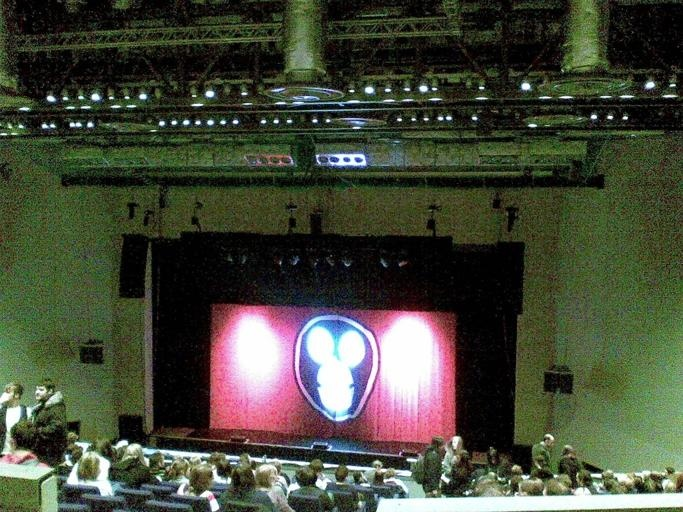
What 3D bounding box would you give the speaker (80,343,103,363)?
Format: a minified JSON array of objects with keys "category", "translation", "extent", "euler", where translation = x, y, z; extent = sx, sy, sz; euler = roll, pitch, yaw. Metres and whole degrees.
[{"category":"speaker","translation":[-5.721,2.221,24.839],"extent":[0.469,0.346,0.466],"euler":[0,-1,0]}]
